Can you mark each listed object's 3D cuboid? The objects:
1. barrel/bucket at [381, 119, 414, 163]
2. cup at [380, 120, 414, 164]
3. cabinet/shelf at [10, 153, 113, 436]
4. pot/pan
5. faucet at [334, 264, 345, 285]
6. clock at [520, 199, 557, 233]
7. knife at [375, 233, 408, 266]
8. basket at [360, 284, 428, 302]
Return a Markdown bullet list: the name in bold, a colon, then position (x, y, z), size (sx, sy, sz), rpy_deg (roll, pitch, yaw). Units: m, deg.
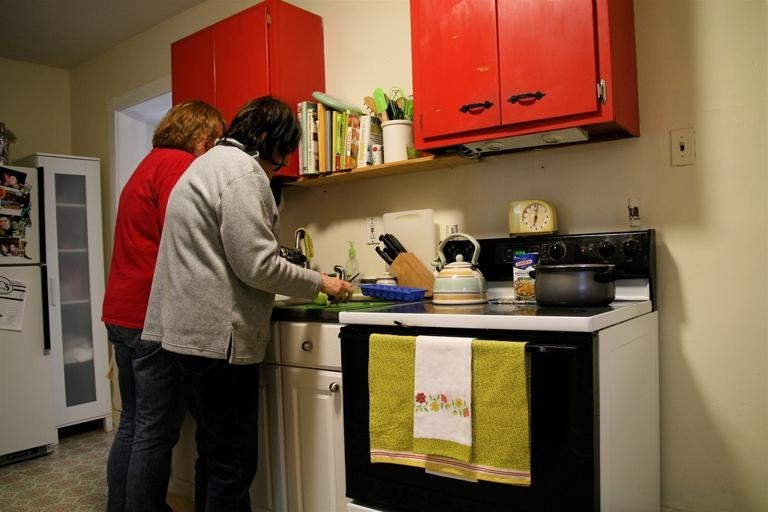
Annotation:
- **barrel/bucket**: position (0.064, -0.622, 3.229), size (0.206, 0.221, 0.203), rpy_deg (0, -2, 0)
- **cup**: position (0.068, -0.618, 3.224), size (0.208, 0.223, 0.206), rpy_deg (0, -2, 0)
- **cabinet/shelf**: position (-2.308, 0.312, 4.192), size (0.511, 2.101, 0.662), rpy_deg (-3, -1, 37)
- **pot/pan**: position (0.766, 0.111, 2.399), size (0.397, 0.174, 0.306), rpy_deg (0, -2, -32)
- **faucet**: position (-0.231, 0.097, 3.055), size (0.050, 0.107, 0.073), rpy_deg (-11, 19, -41)
- **clock**: position (0.734, -0.188, 2.832), size (0.155, 0.149, 0.069), rpy_deg (-1, -3, 24)
- **knife**: position (0.028, -0.035, 3.159), size (0.053, 0.197, 0.112), rpy_deg (-27, -18, -40)
- **basket**: position (0.032, 0.179, 2.897), size (0.234, 0.053, 0.128), rpy_deg (-2, -1, 32)
